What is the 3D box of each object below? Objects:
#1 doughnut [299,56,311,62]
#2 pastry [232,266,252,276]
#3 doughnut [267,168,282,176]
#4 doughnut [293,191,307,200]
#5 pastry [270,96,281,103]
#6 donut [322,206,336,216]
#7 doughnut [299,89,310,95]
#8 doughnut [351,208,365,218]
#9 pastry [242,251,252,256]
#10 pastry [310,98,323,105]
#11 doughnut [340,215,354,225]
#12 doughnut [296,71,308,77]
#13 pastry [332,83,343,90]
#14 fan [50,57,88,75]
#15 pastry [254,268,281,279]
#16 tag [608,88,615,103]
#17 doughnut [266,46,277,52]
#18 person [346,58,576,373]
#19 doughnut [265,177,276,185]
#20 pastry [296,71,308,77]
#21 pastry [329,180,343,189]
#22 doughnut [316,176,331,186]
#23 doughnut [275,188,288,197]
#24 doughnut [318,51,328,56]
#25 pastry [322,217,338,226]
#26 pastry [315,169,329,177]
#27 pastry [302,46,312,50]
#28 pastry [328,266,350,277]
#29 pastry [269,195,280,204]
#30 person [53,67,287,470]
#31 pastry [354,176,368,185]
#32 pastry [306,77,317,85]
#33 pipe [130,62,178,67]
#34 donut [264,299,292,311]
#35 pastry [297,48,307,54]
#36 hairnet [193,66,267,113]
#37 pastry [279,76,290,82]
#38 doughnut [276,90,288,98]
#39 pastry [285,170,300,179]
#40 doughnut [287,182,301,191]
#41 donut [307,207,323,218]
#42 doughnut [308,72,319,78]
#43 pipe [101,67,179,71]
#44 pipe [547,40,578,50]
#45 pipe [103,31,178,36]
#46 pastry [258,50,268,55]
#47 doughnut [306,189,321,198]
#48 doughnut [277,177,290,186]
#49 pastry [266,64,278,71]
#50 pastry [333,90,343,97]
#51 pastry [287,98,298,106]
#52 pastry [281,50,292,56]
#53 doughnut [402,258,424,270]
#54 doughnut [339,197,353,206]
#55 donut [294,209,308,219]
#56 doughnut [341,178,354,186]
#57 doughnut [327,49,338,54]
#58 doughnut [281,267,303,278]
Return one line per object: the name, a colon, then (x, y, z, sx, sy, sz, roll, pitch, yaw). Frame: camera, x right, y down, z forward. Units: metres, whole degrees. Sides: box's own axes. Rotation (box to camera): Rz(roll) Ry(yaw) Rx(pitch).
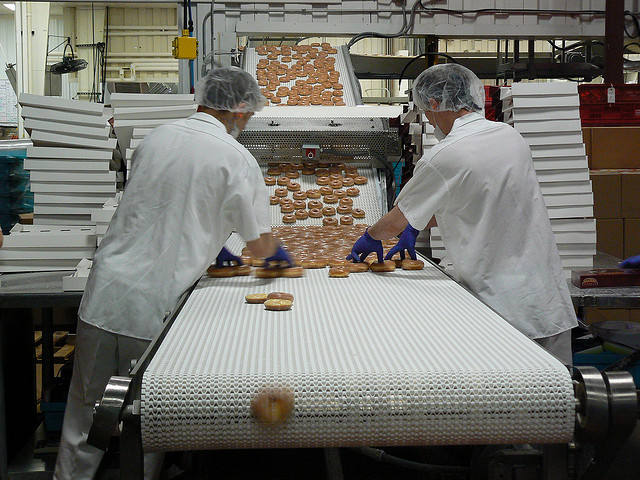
doughnut: (-0.139, -1.578, 5.893, 0.096, 0.053, 0.124, -1, 13, 7)
pastry: (-0.356, 0.142, 3.070, 0.086, 0.035, 0.052, -4, 13, -7)
doughnut: (-0.299, -0.445, 4.431, 0.101, 0.049, 0.052, -6, 13, -15)
doughnut: (-0.135, -0.274, 4.259, 0.064, 0.039, 0.086, 9, 17, 41)
pastry: (-0.338, -1.040, 5.001, 0.082, 0.046, 0.097, -12, 16, -37)
donut: (0.046, -0.173, 4.116, 0.071, 0.046, 0.067, -13, 17, -40)
doughnut: (-0.124, -1.129, 5.154, 0.076, 0.039, 0.095, -2, 13, 0)
doughnut: (0.228, -0.158, 4.103, 0.078, 0.044, 0.065, 8, 16, 38)
pastry: (-0.367, 0.069, 3.364, 0.039, 0.026, 0.039, 1, -3, -37)
pastry: (-0.033, -1.020, 4.984, 0.092, 0.040, 0.104, -2, 13, 1)
doughnut: (0.155, -0.114, 4.034, 0.083, 0.045, 0.056, -3, 12, -2)
doughnut: (-0.155, -1.367, 5.568, 0.095, 0.048, 0.103, -3, 13, -4)
pastry: (0.134, -1.216, 5.347, 0.085, 0.049, 0.095, 5, 14, 28)
fan: (-2.653, -1.818, 7.076, 0.239, 0.101, 0.234, -27, 25, -33)
pastry: (-0.238, 0.151, 3.036, 0.115, 0.033, 0.098, -5, 13, -10)
tag: (2.087, -1.040, 4.862, 0.048, 0.103, 0.027, 0, 12, 8)
doughnut: (-0.434, -1.689, 5.985, 0.080, 0.049, 0.128, 4, 14, 24)
person: (0.612, -0.134, 3.168, 0.711, 1.346, 0.925, -8, 14, -27)
doughnut: (-0.329, -0.380, 4.363, 0.078, 0.041, 0.065, -9, 14, -28)
pastry: (-0.158, -1.368, 5.572, 0.095, 0.048, 0.096, -4, 13, -9)
pastry: (0.100, -0.354, 4.331, 0.085, 0.048, 0.076, 0, 13, 9)
doughnut: (0.019, -0.380, 4.367, 0.094, 0.058, 0.053, -3, 12, -4)
doughnut: (-0.247, -0.297, 4.255, 0.080, 0.049, 0.058, -3, 13, -6)
doughnut: (0.022, -1.664, 6.028, 0.078, 0.043, 0.099, 2, 13, 17)
pastry: (0.055, -0.108, 4.021, 0.090, 0.036, 0.081, -3, 13, -3)
pastry: (0.010, -0.435, 4.428, 0.086, 0.040, 0.120, -2, 13, 1)
pastry: (-0.125, -1.723, 6.076, 0.056, 0.015, 0.060, 5, 8, 28)
pastry: (0.079, 0.148, 3.012, 0.087, 0.033, 0.042, -2, 12, -1)
pastry: (-0.284, -0.252, 4.218, 0.054, 0.046, 0.090, -3, 13, -3)
person: (-0.696, 0.157, 3.034, 1.058, 1.779, 0.456, -7, 13, -22)
pastry: (0.260, -0.380, 4.354, 0.096, 0.043, 0.050, -4, 13, -10)
pastry: (-0.072, -1.270, 5.409, 0.085, 0.050, 0.104, -2, 13, -1)
pipe: (-2.209, -2.340, 9.038, 0.548, 0.066, 0.189, -9, 15, -27)
donut: (-0.165, 0.252, 2.604, 0.098, 0.030, 0.058, -3, 13, -2)
pastry: (-0.164, -1.681, 6.009, 0.084, 0.054, 0.091, -3, 13, -2)
hairnet: (-0.425, -0.708, 3.191, 0.335, 0.217, 0.171, -5, 12, -11)
pastry: (-0.287, -1.294, 5.447, 0.091, 0.042, 0.051, -3, 12, -4)
doughnut: (-0.293, -1.107, 5.117, 0.084, 0.056, 0.105, -2, 13, -1)
pastry: (-0.186, -0.429, 4.435, 0.103, 0.051, 0.075, -11, 15, -34)
doughnut: (-0.170, -0.341, 4.329, 0.084, 0.048, 0.064, -1, 13, 7)
donut: (-0.033, -0.165, 4.099, 0.086, 0.053, 0.056, 2, 13, 17)
doughnut: (-0.059, -1.343, 5.512, 0.087, 0.038, 0.095, -3, 13, -2)
pipe: (-2.420, -2.284, 9.029, 0.989, 0.074, 0.367, -5, 13, -12)
pipe: (2.781, -2.229, 7.746, 0.294, 0.088, 0.668, 2, 14, 19)
pipe: (-2.406, -2.791, 9.143, 0.885, 0.060, 0.095, -5, 13, -10)
pastry: (-0.506, -1.645, 5.922, 0.083, 0.041, 0.051, -4, 13, -8)
doughnut: (-0.046, -0.290, 4.276, 0.081, 0.048, 0.063, 4, 14, 24)
doughnut: (-0.235, -0.376, 4.366, 0.083, 0.044, 0.073, 3, 14, 22)
pastry: (-0.405, -1.444, 5.657, 0.093, 0.055, 0.112, 3, 14, 24)
pastry: (0.133, -1.140, 5.241, 0.073, 0.044, 0.150, -2, 13, 2)
pastry: (-0.205, -1.008, 4.924, 0.074, 0.047, 0.129, -3, 13, -3)
pastry: (-0.302, -1.655, 5.977, 0.095, 0.051, 0.061, -5, 13, -14)
doughnut: (0.436, 0.115, 3.191, 0.098, 0.037, 0.089, 0, 13, 11)
doughnut: (0.153, -0.237, 4.173, 0.054, 0.036, 0.053, -3, 9, -43)
donut: (-0.120, -0.150, 4.095, 0.082, 0.039, 0.053, -4, 13, -8)
doughnut: (0.175, -0.370, 4.328, 0.073, 0.046, 0.063, -1, 13, 4)
doughnut: (0.106, -1.693, 6.071, 0.090, 0.043, 0.057, -2, 13, -1)
doughnut: (-0.129, 0.148, 3.037, 0.095, 0.032, 0.062, -3, 13, -2)
